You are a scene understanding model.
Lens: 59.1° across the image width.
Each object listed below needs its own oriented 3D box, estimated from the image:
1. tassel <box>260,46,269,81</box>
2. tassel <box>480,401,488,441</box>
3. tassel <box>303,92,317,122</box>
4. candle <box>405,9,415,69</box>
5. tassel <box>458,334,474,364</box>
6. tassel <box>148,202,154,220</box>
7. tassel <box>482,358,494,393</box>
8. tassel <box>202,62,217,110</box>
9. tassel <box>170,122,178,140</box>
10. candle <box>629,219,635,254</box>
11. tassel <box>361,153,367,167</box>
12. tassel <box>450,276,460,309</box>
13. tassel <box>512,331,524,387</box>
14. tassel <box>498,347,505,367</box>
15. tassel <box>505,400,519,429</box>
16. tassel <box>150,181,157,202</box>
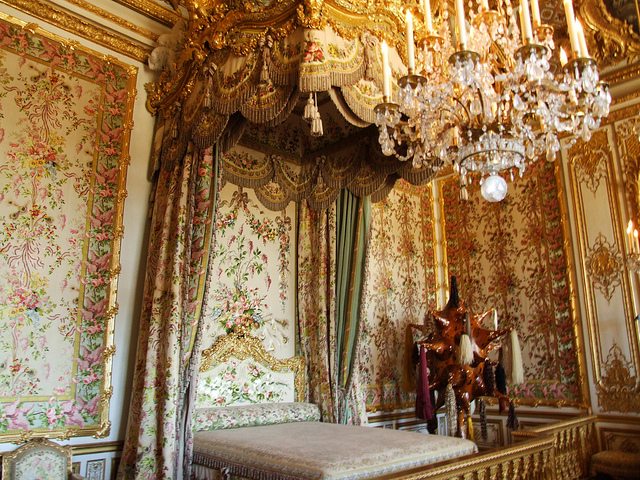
[{"bbox_3d":[-0.419,-1.313,4.194,0.059,0.286,0.038,1,-16,-11],"label":"tassel"},{"bbox_3d":[1.813,2.025,6.300,0.059,0.408,0.515,-6,-18,14],"label":"tassel"},{"bbox_3d":[-0.078,-0.958,4.122,0.092,0.213,0.190,1,-17,-11],"label":"tassel"},{"bbox_3d":[0.648,-1.449,4.102,0.055,0.486,0.104,-4,-16,9],"label":"candle"},{"bbox_3d":[1.450,1.090,5.614,0.124,0.276,0.103,-5,-5,8],"label":"tassel"},{"bbox_3d":[-1.558,-0.264,5.198,0.031,0.175,0.252,4,-19,-21],"label":"tassel"},{"bbox_3d":[1.715,1.390,5.768,0.123,0.336,0.076,-2,-15,0],"label":"tassel"},{"bbox_3d":[-0.891,-1.249,4.517,0.077,0.399,0.196,6,-18,-26],"label":"tassel"},{"bbox_3d":[-1.262,-0.942,4.884,0.085,0.134,0.033,-10,-17,26],"label":"tassel"},{"bbox_3d":[2.749,-0.019,4.989,0.032,0.255,0.196,-10,-18,28],"label":"candle"},{"bbox_3d":[0.426,-0.774,5.487,0.047,0.115,0.081,7,-19,-28],"label":"tassel"},{"bbox_3d":[1.450,0.579,6.155,0.095,0.369,0.239,-5,-17,12],"label":"tassel"},{"bbox_3d":[2.189,1.318,6.292,0.084,0.575,0.252,-11,-18,31],"label":"tassel"},{"bbox_3d":[2.032,1.334,6.406,0.045,0.201,0.092,5,-17,-24],"label":"tassel"},{"bbox_3d":[2.019,1.865,5.985,0.105,0.275,0.600,-7,-18,16],"label":"tassel"},{"bbox_3d":[-1.553,-0.450,5.251,0.037,0.205,0.151,7,-19,-31],"label":"tassel"}]
